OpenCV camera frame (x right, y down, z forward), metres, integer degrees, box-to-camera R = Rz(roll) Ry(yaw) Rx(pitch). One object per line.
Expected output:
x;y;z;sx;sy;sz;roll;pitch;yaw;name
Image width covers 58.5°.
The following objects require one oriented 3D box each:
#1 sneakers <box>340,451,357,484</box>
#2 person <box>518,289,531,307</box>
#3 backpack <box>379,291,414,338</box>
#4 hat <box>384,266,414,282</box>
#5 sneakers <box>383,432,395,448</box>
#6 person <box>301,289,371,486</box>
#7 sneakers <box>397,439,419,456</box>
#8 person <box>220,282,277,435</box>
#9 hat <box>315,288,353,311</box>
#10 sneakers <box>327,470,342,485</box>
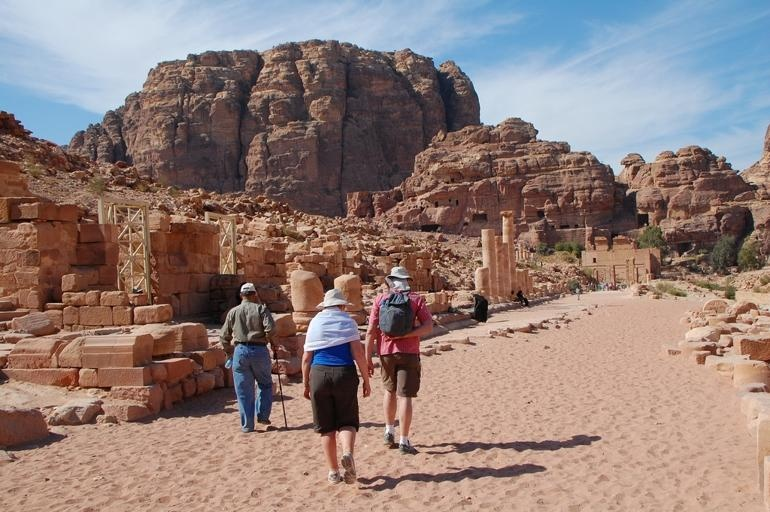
-0.488;2.868;9.306;0.177;0.404;0.239;-5;0;-5;sneakers
5.814;1.786;28.900;0.435;0.670;1.257;-5;-1;9;person
0.185;0.883;10.028;0.598;0.691;0.425;-3;-25;12;backpack
0.260;0.376;14.501;0.565;0.244;0.660;1;-12;1;hat
0.079;2.755;10.297;0.106;0.284;0.203;-3;28;4;sneakers
-0.682;1.793;9.530;0.669;2.642;0.670;-5;0;36;person
0.333;2.814;10.071;0.143;0.156;0.371;1;6;11;sneakers
-2.137;1.626;11.033;0.926;2.366;0.570;-5;0;1;person
-0.890;0.743;11.843;0.708;0.286;0.671;-1;-6;1;hat
-0.696;3.046;9.447;0.114;0.109;0.248;2;0;3;sneakers
